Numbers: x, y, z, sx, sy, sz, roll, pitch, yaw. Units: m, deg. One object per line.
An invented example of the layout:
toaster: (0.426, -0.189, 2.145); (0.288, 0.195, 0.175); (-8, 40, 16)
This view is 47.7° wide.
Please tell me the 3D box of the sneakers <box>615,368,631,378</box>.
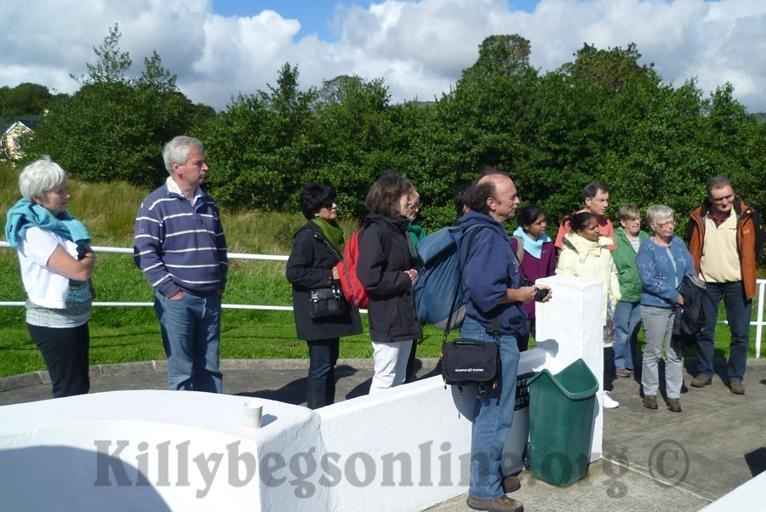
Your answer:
sneakers: (3.617, 1.759, 13.049); (0.275, 0.131, 0.095); (-5, 7, -20)

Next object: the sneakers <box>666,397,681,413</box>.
sneakers: (4.015, 2.037, 11.919); (0.205, 0.188, 0.241); (-1, -1, 11)

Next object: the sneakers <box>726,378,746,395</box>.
sneakers: (5.130, 1.888, 12.523); (0.128, 0.133, 0.295); (-5, -1, 6)

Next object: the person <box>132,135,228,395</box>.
person: (-2.412, 0.112, 10.389); (1.035, 3.085, 0.427); (0, -1, -14)

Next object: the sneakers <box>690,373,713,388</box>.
sneakers: (4.677, 1.843, 12.744); (0.351, 0.164, 0.147); (3, -5, -30)

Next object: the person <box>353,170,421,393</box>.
person: (0.063, 0.311, 10.333); (0.735, 2.602, 0.434); (-1, -1, 0)

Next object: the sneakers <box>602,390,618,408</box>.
sneakers: (3.169, 1.985, 12.037); (0.203, 0.217, 0.490); (-1, -1, 14)

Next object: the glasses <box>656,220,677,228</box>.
glasses: (3.868, -0.450, 11.893); (0.230, 0.111, 0.078); (-1, -1, -6)

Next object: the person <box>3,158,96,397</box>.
person: (-3.717, 0.266, 9.734); (0.850, 2.597, 0.271); (0, -1, -20)

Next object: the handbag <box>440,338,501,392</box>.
handbag: (0.997, 1.182, 9.818); (0.761, 0.831, 0.459); (0, -5, 4)

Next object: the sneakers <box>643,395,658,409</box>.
sneakers: (3.683, 2.013, 11.931); (0.101, 0.190, 0.256); (1, -7, -5)
